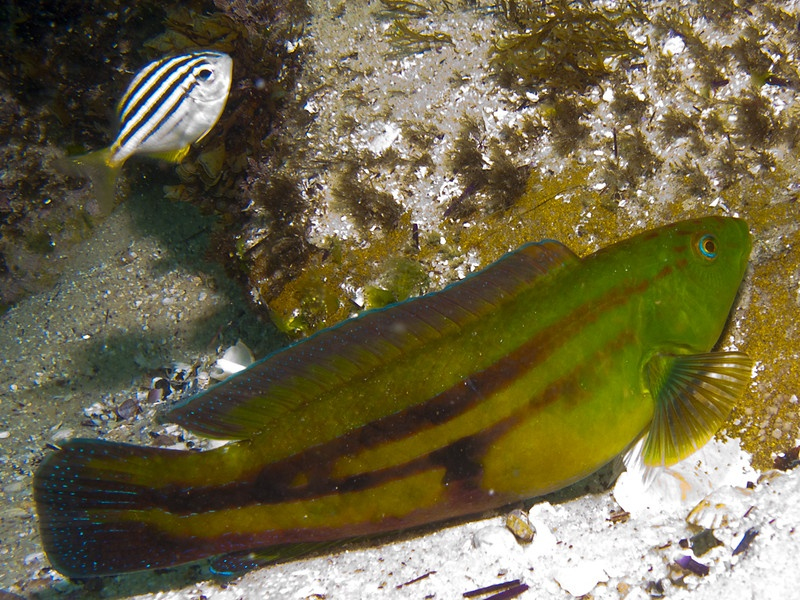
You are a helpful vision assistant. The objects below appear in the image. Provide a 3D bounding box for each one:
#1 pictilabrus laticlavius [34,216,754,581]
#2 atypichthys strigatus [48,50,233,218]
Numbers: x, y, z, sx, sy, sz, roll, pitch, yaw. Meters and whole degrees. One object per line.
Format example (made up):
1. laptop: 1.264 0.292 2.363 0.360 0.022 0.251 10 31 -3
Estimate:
1. pictilabrus laticlavius: 0.152 0.747 5.351 4.582 1.302 1.175 -14 53 -8
2. atypichthys strigatus: -1.700 -1.306 5.866 1.023 1.190 0.867 -10 16 28
